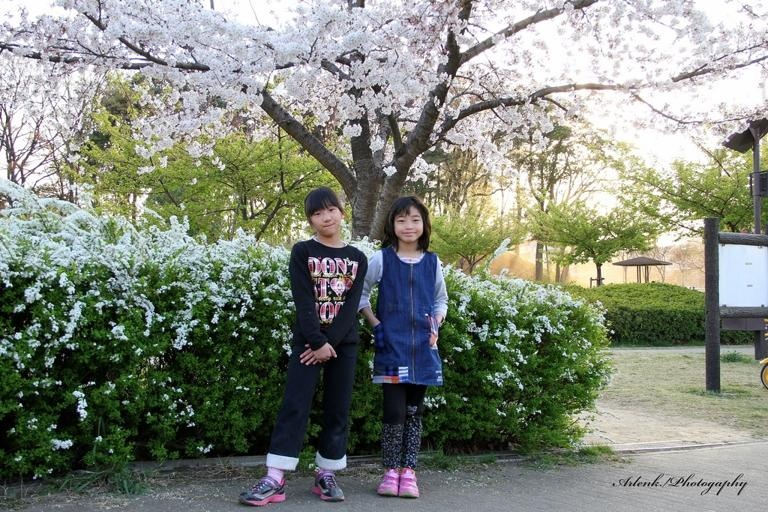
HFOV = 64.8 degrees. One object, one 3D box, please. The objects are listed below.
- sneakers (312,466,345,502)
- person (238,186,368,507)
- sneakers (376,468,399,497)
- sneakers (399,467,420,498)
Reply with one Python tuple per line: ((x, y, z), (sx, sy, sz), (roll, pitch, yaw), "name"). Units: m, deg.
((-0.468, 1.926, 5.106), (0.280, 0.218, 0.197), (2, 1, 2), "sneakers")
((-0.589, 0.720, 5.183), (0.836, 2.637, 0.585), (2, 1, -2), "person")
((0.033, 1.958, 5.230), (0.198, 0.132, 0.137), (2, 1, 0), "sneakers")
((0.208, 1.956, 5.223), (0.176, 0.145, 0.164), (2, 1, 2), "sneakers")
